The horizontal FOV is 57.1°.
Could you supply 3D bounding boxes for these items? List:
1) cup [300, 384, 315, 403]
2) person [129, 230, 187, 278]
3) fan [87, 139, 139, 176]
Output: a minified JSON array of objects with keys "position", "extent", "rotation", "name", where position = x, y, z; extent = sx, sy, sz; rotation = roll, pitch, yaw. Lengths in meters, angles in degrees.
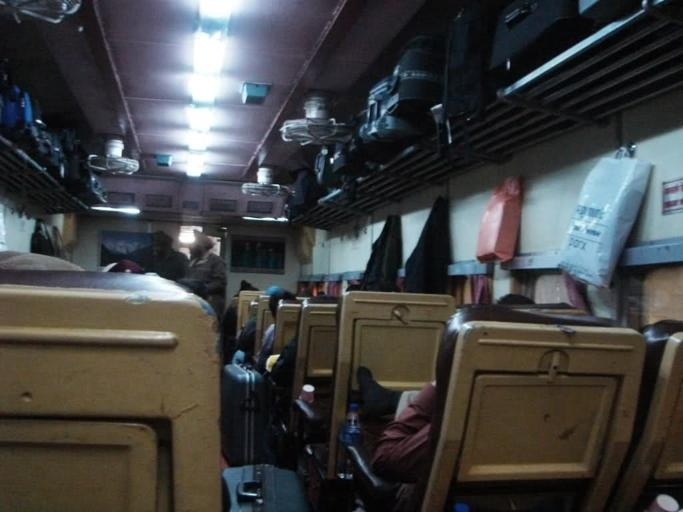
[{"position":[-0.267,1.055,4.792],"extent":[0.133,0.128,0.132],"rotation":[5,-8,1],"name":"cup"},{"position":[-3.568,-0.040,12.075],"extent":[0.498,0.468,0.887],"rotation":[12,5,-34],"name":"person"},{"position":[-2.954,-1.304,8.016],"extent":[0.675,0.396,0.477],"rotation":[3,-14,-5],"name":"fan"}]
